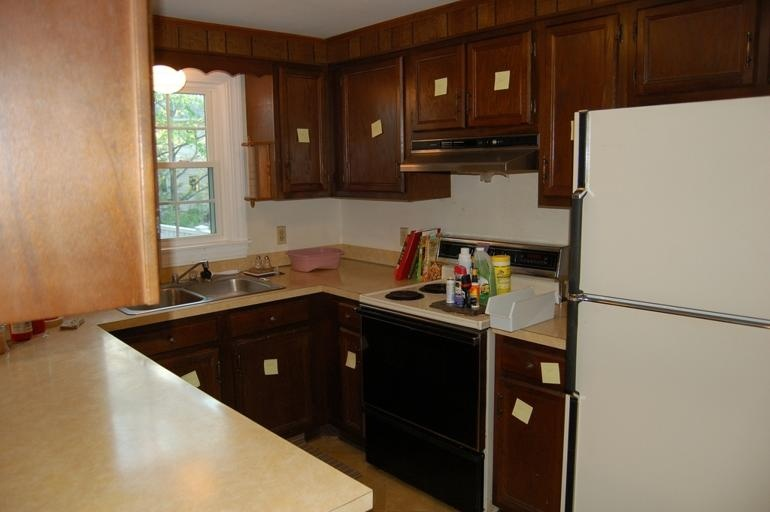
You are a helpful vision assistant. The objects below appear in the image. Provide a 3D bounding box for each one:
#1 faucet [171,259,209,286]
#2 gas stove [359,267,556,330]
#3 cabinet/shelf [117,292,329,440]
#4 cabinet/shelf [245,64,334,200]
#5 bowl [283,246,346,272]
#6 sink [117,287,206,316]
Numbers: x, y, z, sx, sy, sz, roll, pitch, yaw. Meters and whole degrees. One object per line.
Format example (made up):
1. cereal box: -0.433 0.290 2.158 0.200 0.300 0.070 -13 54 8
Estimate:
1. faucet: -1.233 0.101 3.639 0.203 0.079 0.120 -7 9 -23
2. gas stove: 0.385 0.215 2.939 0.917 0.177 0.443 8 13 35
3. cabinet/shelf: -1.040 0.749 3.391 1.206 0.877 0.618 -7 3 -41
4. cabinet/shelf: -0.636 -0.810 3.816 0.596 0.861 0.342 -2 11 -10
5. bowl: -0.507 0.015 4.073 0.355 0.128 0.380 1 11 0
6. sink: -0.836 0.185 2.210 0.254 0.098 0.212 8 10 34
